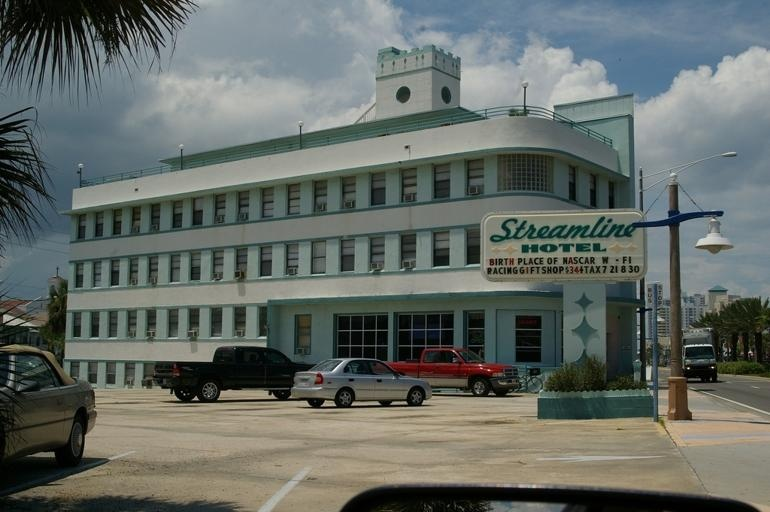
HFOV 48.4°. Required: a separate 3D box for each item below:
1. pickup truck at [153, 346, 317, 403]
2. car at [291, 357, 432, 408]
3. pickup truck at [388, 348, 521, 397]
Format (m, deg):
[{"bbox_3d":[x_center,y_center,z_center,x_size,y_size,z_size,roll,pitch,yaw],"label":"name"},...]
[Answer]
[{"bbox_3d":[-5.992,4.708,34.752,5.973,1.723,2.625,0,-3,-32],"label":"pickup truck"},{"bbox_3d":[-0.827,4.622,31.089,4.545,1.749,0.804,4,-11,-17],"label":"car"},{"bbox_3d":[3.257,5.088,37.291,6.176,1.990,2.232,-2,-5,22],"label":"pickup truck"}]
